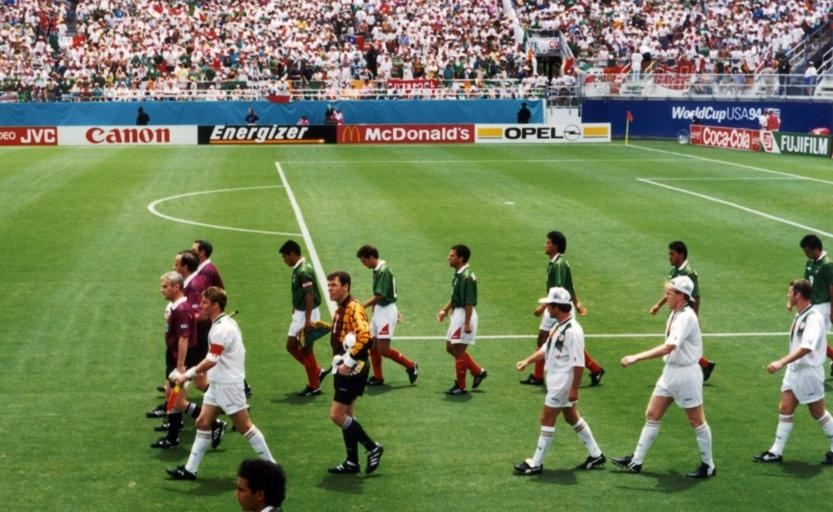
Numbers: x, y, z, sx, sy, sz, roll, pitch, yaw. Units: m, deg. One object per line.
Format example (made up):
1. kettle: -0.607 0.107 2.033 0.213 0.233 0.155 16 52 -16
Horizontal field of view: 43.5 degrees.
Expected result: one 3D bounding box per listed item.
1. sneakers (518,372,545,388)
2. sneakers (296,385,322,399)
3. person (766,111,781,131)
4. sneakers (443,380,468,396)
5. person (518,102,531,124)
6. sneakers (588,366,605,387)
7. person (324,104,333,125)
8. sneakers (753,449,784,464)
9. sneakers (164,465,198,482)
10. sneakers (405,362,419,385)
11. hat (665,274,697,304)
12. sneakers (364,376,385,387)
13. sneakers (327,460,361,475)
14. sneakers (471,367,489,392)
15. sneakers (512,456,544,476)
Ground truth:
1. sneakers: 2.667 2.991 24.298 0.620 0.251 0.234 2 4 6
2. sneakers: -2.419 3.180 23.682 0.614 0.250 0.199 1 -1 -4
3. person: 18.927 -7.369 55.946 0.693 0.974 1.333 1 8 19
4. sneakers: 0.899 3.148 23.849 0.473 0.273 0.238 2 -3 1
5. person: 6.312 -8.607 61.955 0.845 1.267 1.943 -2 8 4
6. sneakers: 4.119 2.922 24.062 0.218 0.258 0.587 -2 7 14
7. person: -5.070 -8.291 60.397 0.647 1.075 0.398 -2 -3 0
8. sneakers: 7.240 4.266 21.595 0.594 0.253 0.251 2 -3 7
9. sneakers: -4.727 4.496 21.122 0.707 0.286 0.244 11 -3 -5
10. sneakers: -0.109 2.801 24.283 0.248 0.542 0.199 -5 9 -3
11. hat: 5.371 0.732 21.225 0.648 0.568 0.320 -5 9 -21
12. sneakers: -0.986 3.024 24.297 0.435 0.172 0.172 -1 7 13
13. sneakers: -1.453 4.456 21.427 0.714 0.282 0.252 3 -2 -1
14. sneakers: 1.440 2.909 24.066 0.268 0.587 0.213 17 35 -9
15. sneakers: 2.224 4.445 21.331 0.673 0.288 0.257 3 0 -4
